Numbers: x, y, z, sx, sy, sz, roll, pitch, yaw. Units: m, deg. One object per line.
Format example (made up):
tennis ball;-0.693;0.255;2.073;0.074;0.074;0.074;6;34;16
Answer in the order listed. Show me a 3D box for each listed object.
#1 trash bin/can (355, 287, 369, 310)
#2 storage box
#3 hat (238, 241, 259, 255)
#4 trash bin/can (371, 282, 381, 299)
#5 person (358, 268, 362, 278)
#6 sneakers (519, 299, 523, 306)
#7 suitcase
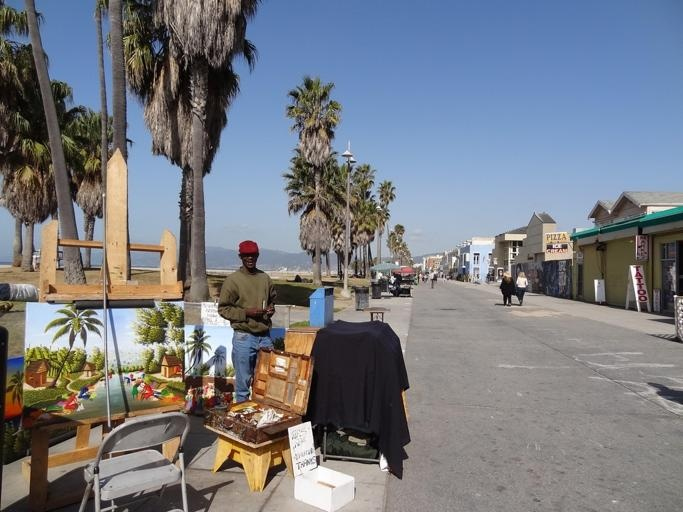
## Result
trash bin/can;0.984;2.270;25.131;0.760;1.304;1.166;0;-1;22
storage box;-0.948;1.783;6.000;1.170;0.879;0.933;0;-4;41
hat;-1.127;-0.079;5.861;0.311;0.178;0.453;-1;2;-9
trash bin/can;2.423;2.477;33.906;0.592;1.098;1.458;-2;-3;0
person;4.475;4.227;113.908;0.304;1.386;1.295;1;-3;-26
sneakers;10.630;2.817;28.806;0.157;0.223;0.273;-31;-6;41
suitcase;-0.982;1.684;5.899;1.212;0.924;0.963;1;-5;38
